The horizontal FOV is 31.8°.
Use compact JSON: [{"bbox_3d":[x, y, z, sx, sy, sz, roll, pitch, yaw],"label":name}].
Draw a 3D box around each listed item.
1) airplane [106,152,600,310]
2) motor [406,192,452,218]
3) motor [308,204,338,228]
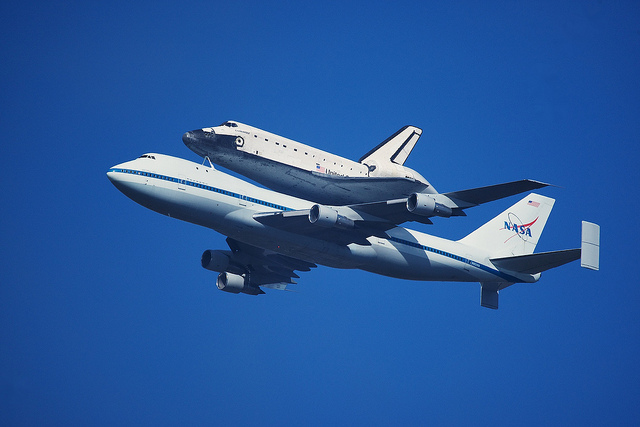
[{"bbox_3d":[2.515,1.003,53.872,13.210,2.868,12.743,14,-19,-22],"label":"airplane"},{"bbox_3d":[5.210,-0.397,52.123,2.107,0.674,0.904,9,-31,-29],"label":"motor"},{"bbox_3d":[0.447,0.054,51.899,1.346,0.914,0.749,20,-57,-12],"label":"motor"}]
